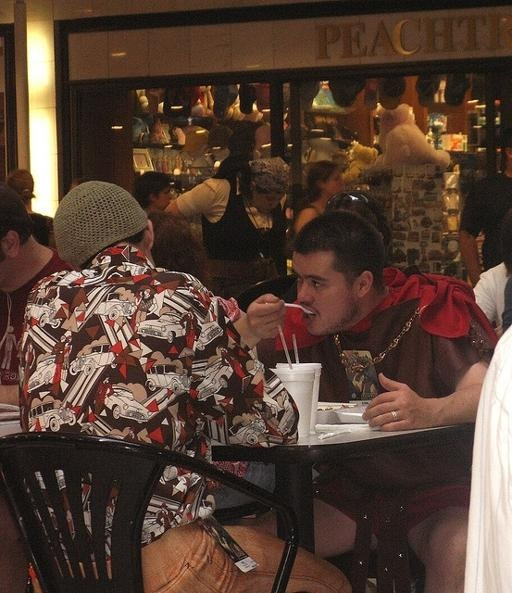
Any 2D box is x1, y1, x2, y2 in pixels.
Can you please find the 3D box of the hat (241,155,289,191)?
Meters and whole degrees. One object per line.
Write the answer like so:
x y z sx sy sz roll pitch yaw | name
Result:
0.086 -0.983 5.059 0.257 0.255 0.327 -6 46 -19 | hat

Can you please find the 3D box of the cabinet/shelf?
-0.484 -1.127 5.335 1.114 0.944 0.354 -1 -15 -11 | cabinet/shelf

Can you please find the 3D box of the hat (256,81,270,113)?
0.057 -1.644 5.105 0.121 0.230 0.053 -2 9 14 | hat

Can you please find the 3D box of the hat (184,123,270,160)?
-0.250 -1.312 5.157 0.534 0.183 0.360 -2 3 2 | hat

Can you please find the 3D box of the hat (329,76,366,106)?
0.744 -1.646 5.050 0.263 0.252 0.231 9 8 39 | hat

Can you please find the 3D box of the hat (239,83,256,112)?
-0.067 -1.633 5.127 0.138 0.245 0.055 -5 9 -5 | hat

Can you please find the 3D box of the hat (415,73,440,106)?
1.381 -1.652 4.966 0.173 0.238 0.082 3 14 10 | hat

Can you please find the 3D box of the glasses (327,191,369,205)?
0.450 -0.478 2.996 0.126 0.049 0.102 -4 2 9 | glasses

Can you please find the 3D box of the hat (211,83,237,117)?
-0.264 -1.646 5.165 0.172 0.286 0.092 12 9 17 | hat

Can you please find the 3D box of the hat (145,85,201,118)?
-0.682 -1.645 5.215 0.314 0.193 0.379 1 -1 -10 | hat

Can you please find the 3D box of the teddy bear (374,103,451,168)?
1.374 -1.286 5.239 0.375 0.538 0.577 -23 -14 36 | teddy bear

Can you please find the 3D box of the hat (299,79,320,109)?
0.433 -1.654 5.071 0.171 0.192 0.222 -3 10 1 | hat

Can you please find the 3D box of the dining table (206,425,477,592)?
0.271 0.522 1.610 0.363 0.284 0.618 -18 -18 37 | dining table
